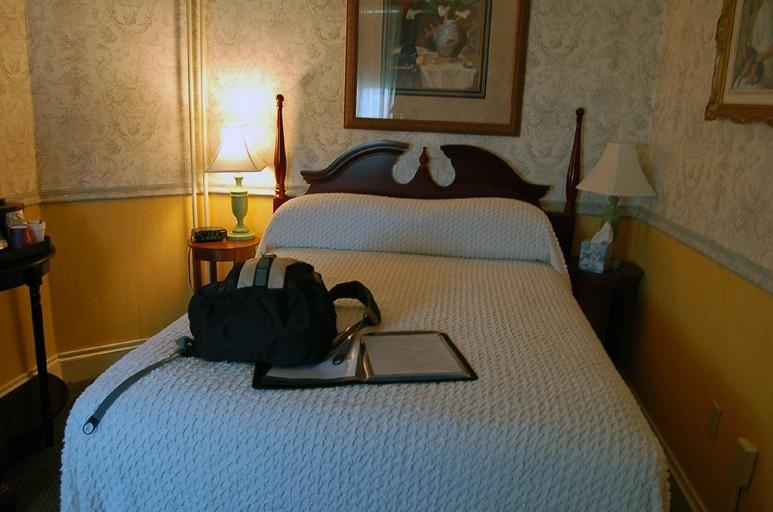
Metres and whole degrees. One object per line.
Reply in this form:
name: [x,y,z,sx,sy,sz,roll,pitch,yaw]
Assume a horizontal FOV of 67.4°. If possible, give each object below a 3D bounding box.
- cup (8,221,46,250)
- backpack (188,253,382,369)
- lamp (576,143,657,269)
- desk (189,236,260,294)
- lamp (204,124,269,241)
cup: [-1.736,-0.104,2.807,0.105,0.094,0.117,10,17,36]
backpack: [-0.438,0.193,2.150,0.384,0.254,0.516,-2,0,16]
lamp: [1.357,-0.303,3.475,0.372,0.636,0.418,-15,35,-9]
desk: [-1.063,-0.027,3.767,0.426,0.523,0.444,0,9,-3]
lamp: [-0.959,-0.474,3.721,0.352,0.688,0.396,1,7,13]
